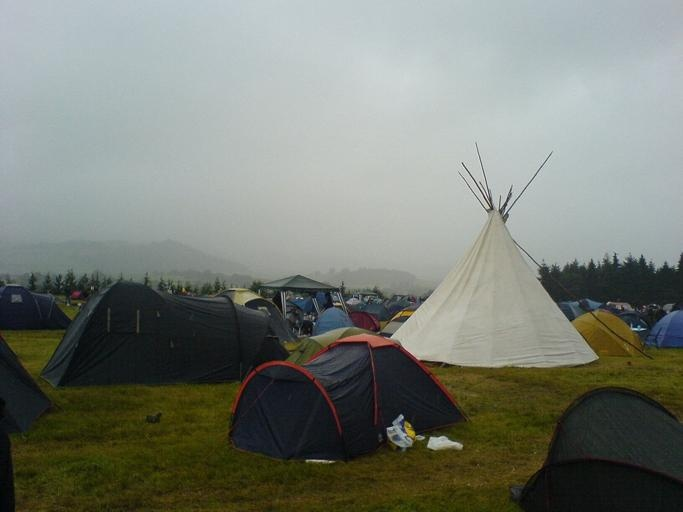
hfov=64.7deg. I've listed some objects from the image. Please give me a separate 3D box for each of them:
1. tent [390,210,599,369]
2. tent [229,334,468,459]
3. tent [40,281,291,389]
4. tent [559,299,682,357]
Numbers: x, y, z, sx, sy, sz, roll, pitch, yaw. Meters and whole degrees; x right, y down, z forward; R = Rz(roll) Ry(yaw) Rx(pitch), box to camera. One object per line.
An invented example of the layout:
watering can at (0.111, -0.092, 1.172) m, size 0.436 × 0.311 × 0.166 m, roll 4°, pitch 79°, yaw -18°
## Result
tent at (5.324, 0.869, 18.589) m, size 5.929 × 4.605 × 6.456 m, roll -3°, pitch 1°, yaw -15°
tent at (0.213, 2.841, 10.994) m, size 2.261 × 1.354 × 3.399 m, roll -6°, pitch -6°, yaw 40°
tent at (-4.826, 2.328, 14.779) m, size 4.320 × 1.606 × 3.008 m, roll 3°, pitch -3°, yaw -28°
tent at (9.438, 2.732, 19.611) m, size 2.231 × 1.056 × 2.353 m, roll 0°, pitch 5°, yaw 5°
